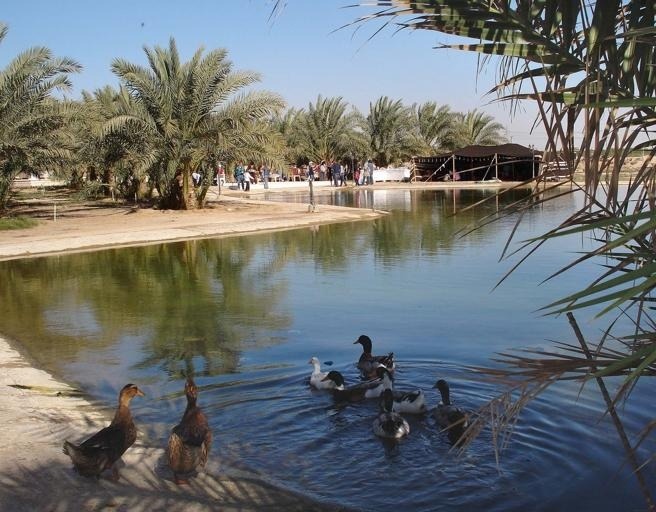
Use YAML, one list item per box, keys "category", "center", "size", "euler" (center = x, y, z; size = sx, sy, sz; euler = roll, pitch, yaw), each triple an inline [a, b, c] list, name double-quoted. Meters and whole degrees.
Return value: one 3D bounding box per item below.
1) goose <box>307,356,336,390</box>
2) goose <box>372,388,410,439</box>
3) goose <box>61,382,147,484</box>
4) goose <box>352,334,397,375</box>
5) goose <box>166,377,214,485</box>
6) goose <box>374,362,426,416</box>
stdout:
- category: "goose"
  center: [-0.039, 1.372, 6.265]
  size: [0.212, 0.406, 0.511]
  euler: [3, -6, -38]
- category: "goose"
  center: [0.603, 1.529, 5.300]
  size: [0.298, 0.504, 0.778]
  euler: [-4, -3, 2]
- category: "goose"
  center: [-1.759, 1.382, 4.262]
  size: [0.309, 0.672, 0.844]
  euler: [-1, -8, 17]
- category: "goose"
  center: [0.577, 1.264, 6.765]
  size: [0.298, 0.514, 0.775]
  euler: [0, -2, -31]
- category: "goose"
  center: [-1.119, 1.384, 4.345]
  size: [0.351, 0.735, 0.429]
  euler: [8, 13, 43]
- category: "goose"
  center: [0.770, 1.413, 5.783]
  size: [0.239, 0.504, 0.624]
  euler: [-9, -2, -38]
